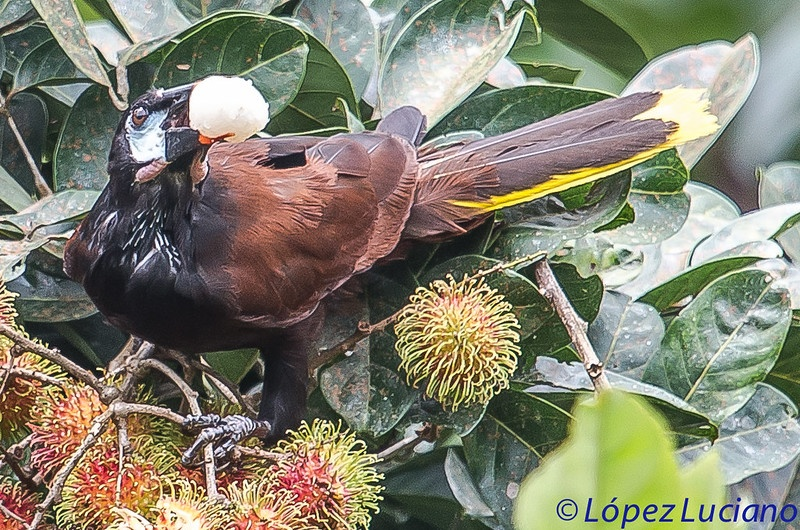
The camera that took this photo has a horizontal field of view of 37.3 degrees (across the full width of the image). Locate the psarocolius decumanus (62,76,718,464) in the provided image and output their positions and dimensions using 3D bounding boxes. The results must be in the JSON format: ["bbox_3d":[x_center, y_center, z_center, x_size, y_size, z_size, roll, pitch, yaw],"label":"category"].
[{"bbox_3d":[-0.119,-0.149,2.461,1.218,0.571,0.628,-20,14,-7],"label":"psarocolius decumanus"}]

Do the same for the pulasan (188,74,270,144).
[{"bbox_3d":[-0.302,-0.269,2.061,0.137,0.108,0.104,32,57,32],"label":"pulasan"}]
